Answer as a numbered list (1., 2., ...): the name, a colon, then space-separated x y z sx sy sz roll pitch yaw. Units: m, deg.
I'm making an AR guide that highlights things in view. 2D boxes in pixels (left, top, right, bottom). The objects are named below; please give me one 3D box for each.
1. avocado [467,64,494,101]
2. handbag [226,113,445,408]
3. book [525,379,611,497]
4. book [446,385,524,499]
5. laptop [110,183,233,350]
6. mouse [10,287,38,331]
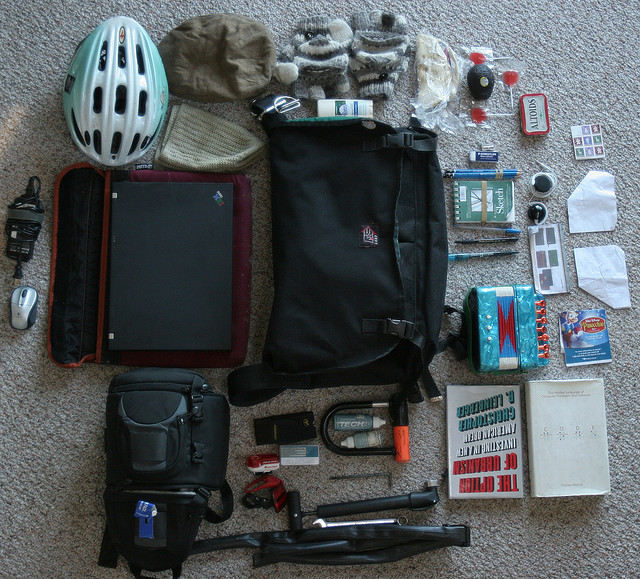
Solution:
1. avocado: 0.497 -0.656 2.216 0.100 0.143 0.090 -7 98 -12
2. handbag: 0.099 -0.136 2.108 0.797 0.244 0.797 3 89 41
3. book: 0.754 0.452 2.063 0.231 0.089 0.365 -2 87 -1
4. book: 0.498 0.457 2.117 0.220 0.062 0.325 0 75 -1
5. laptop: -0.434 -0.072 2.302 0.364 0.110 0.600 0 90 -3
6. mouse: -0.885 0.050 2.069 0.078 0.041 0.142 7 67 -12
